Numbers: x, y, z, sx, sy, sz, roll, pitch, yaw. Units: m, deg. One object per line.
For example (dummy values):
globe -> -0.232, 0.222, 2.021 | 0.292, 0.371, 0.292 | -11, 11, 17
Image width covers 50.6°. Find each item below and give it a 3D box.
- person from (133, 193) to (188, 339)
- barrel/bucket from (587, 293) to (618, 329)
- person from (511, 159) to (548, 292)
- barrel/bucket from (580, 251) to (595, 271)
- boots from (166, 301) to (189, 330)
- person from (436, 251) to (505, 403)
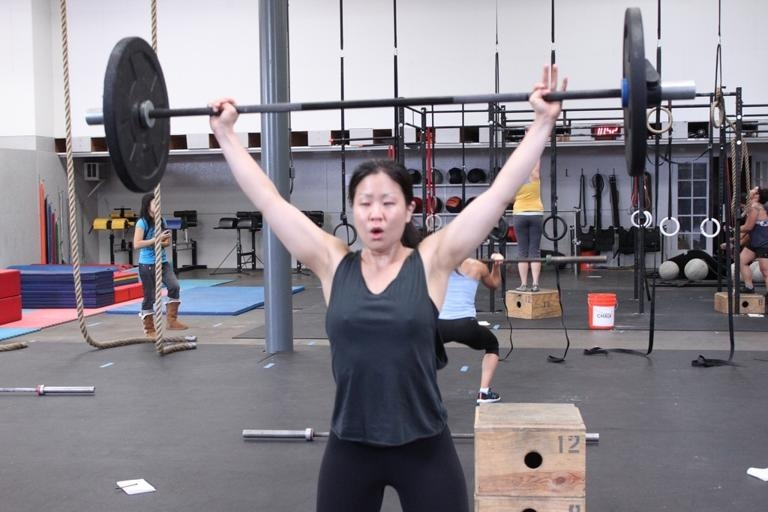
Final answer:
person -> -2.559, 0.071, 9.297 | 0.531, 1.602, 0.471 | -6, 6, -34
barrel/bucket -> 2.538, 0.618, 9.531 | 0.360, 0.417, 0.382 | -1, 7, 0
person -> 1.864, -0.424, 10.409 | 0.410, 1.736, 0.472 | -6, -15, 38
barrel/bucket -> 3.736, 0.056, 14.975 | 0.247, 0.434, 0.746 | 2, 15, 14
boots -> -2.504, 0.692, 9.727 | 0.349, 0.414, 0.214 | 0, 2, -10
person -> 0.748, 0.530, 7.149 | 0.489, 1.454, 0.516 | -2, -3, -9
